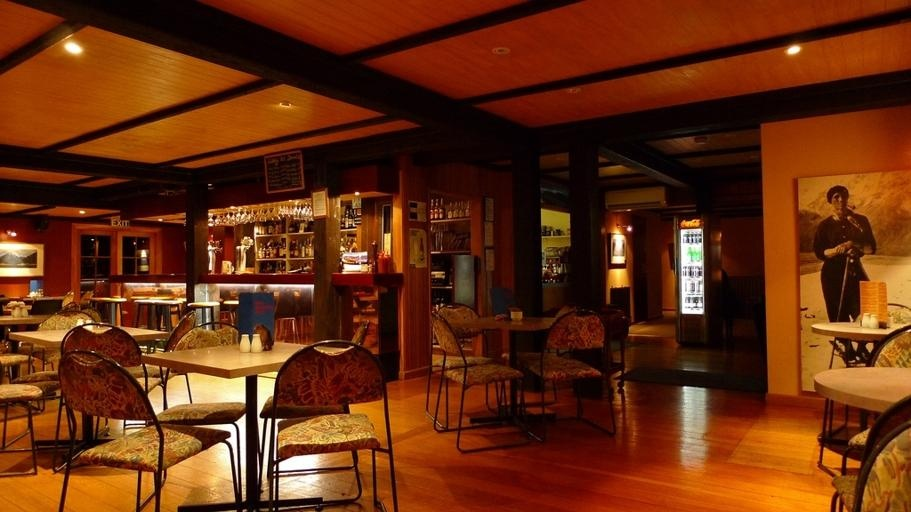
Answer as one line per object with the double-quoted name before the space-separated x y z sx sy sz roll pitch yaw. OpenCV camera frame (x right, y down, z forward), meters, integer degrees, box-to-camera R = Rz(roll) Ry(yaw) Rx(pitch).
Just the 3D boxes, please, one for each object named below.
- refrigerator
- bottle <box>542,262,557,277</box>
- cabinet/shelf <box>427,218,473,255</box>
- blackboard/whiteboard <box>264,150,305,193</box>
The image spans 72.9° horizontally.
"refrigerator" 5.357 0.538 13.657 0.990 1.855 0.961 -3 -2 20
"bottle" 2.359 0.344 15.476 0.434 0.371 0.164 -13 -30 24
"cabinet/shelf" -0.083 -0.396 12.868 0.833 0.424 0.246 -4 -7 38
"blackboard/whiteboard" -2.895 -1.463 10.467 0.820 0.612 0.076 -3 -1 23
